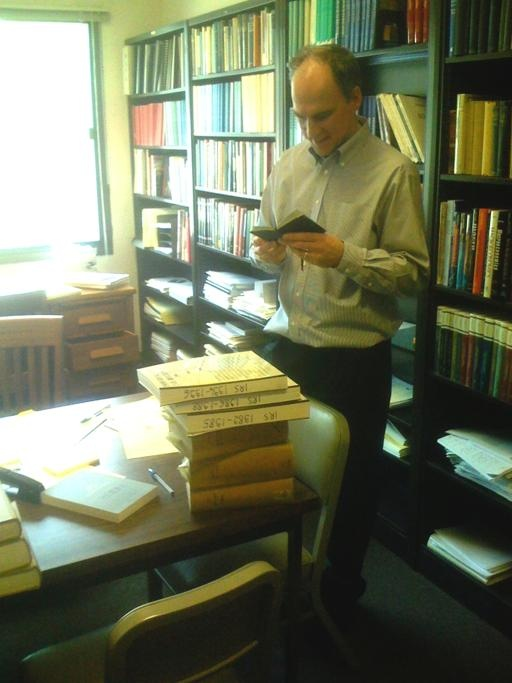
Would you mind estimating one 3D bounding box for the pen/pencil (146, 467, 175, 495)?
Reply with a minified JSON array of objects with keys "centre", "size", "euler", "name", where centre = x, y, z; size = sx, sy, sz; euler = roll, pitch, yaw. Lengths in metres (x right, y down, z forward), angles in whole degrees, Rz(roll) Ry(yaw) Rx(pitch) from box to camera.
[{"centre":[-0.185,0.274,1.149],"size":[0.022,0.020,0.153],"euler":[-19,17,-18],"name":"pen/pencil"}]
